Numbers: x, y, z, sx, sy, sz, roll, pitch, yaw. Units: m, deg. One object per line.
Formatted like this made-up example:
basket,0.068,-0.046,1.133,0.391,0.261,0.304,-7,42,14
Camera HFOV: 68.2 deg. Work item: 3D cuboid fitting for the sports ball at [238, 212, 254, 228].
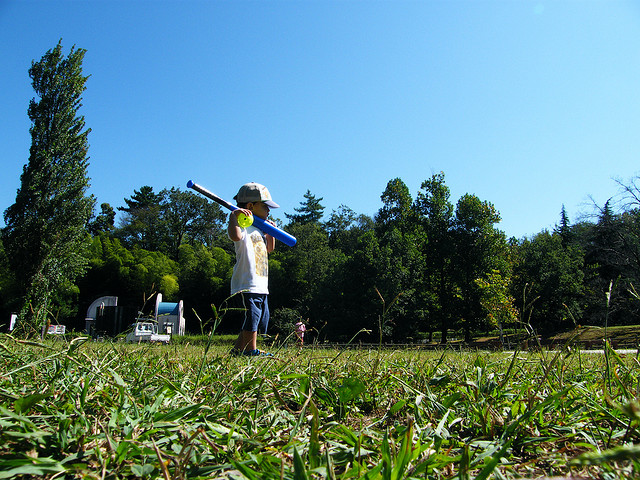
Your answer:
sports ball,-0.694,-0.185,4.370,0.133,0.114,0.143,1,-12,0

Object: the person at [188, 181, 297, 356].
person,-0.671,0.228,4.580,0.719,1.693,0.899,-4,-12,23
